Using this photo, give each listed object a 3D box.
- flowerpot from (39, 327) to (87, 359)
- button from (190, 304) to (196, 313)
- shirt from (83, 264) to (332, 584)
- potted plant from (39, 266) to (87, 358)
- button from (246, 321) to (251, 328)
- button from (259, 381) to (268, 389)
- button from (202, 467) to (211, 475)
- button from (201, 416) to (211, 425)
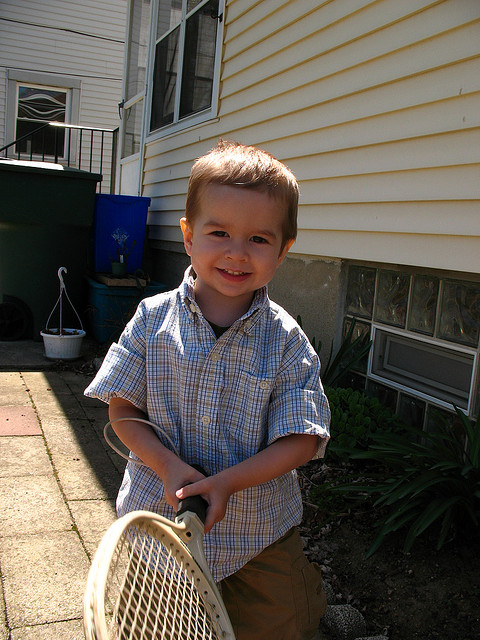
[{"bbox_3d":[-1.843,0.224,5.017,0.391,0.207,0.378,1,-1,2],"label":"flowerpot"},{"bbox_3d":[-0.110,-0.029,1.112,0.005,0.015,0.016,-8,7,-27],"label":"button"},{"bbox_3d":[-0.065,0.243,1.181,0.554,0.729,0.279,1,10,8],"label":"shirt"},{"bbox_3d":[-1.974,-0.111,5.337,0.443,0.956,1.164,-4,10,-19],"label":"potted plant"},{"bbox_3d":[0.019,0.008,1.102,0.008,0.014,0.005,13,44,-19],"label":"button"},{"bbox_3d":[0.051,0.143,1.076,0.020,0.017,0.007,2,-2,-5],"label":"button"},{"bbox_3d":[-0.077,0.340,1.099,0.005,0.019,0.021,9,-9,-36],"label":"button"},{"bbox_3d":[-0.077,0.222,1.081,0.017,0.020,0.003,3,10,20],"label":"button"}]
